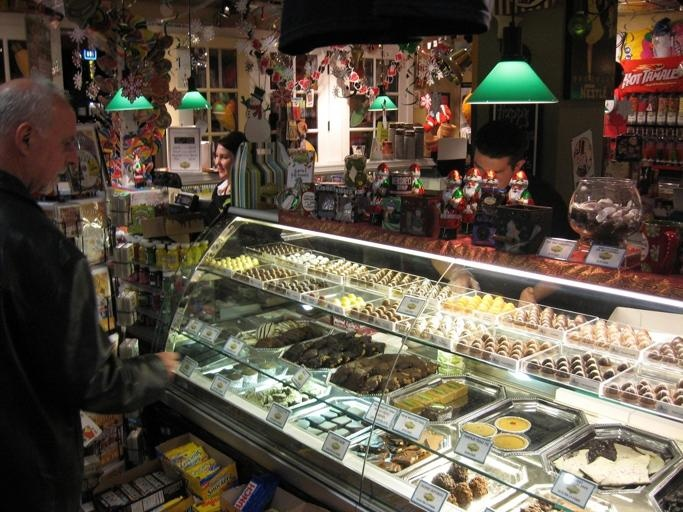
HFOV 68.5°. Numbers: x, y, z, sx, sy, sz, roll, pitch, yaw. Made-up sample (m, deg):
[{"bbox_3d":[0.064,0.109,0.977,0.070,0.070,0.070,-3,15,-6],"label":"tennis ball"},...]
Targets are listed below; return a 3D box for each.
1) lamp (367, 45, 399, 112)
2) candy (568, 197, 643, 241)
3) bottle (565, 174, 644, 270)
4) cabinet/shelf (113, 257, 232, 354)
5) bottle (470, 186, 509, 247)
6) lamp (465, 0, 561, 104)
[{"bbox_3d":[0.547,-2.785,7.637,0.442,1.089,0.456,-7,18,5],"label":"lamp"},{"bbox_3d":[0.978,-0.142,1.850,0.176,0.118,0.176,2,7,7],"label":"candy"},{"bbox_3d":[0.912,-0.122,1.853,0.316,0.382,0.307,1,3,3],"label":"bottle"},{"bbox_3d":[-1.064,0.322,3.176,0.218,0.241,0.674,10,20,26],"label":"cabinet/shelf"},{"bbox_3d":[0.601,-0.157,2.053,0.118,0.224,0.138,4,14,17],"label":"bottle"},{"bbox_3d":[0.902,-1.053,2.627,0.467,0.445,0.470,-8,23,-8],"label":"lamp"}]
